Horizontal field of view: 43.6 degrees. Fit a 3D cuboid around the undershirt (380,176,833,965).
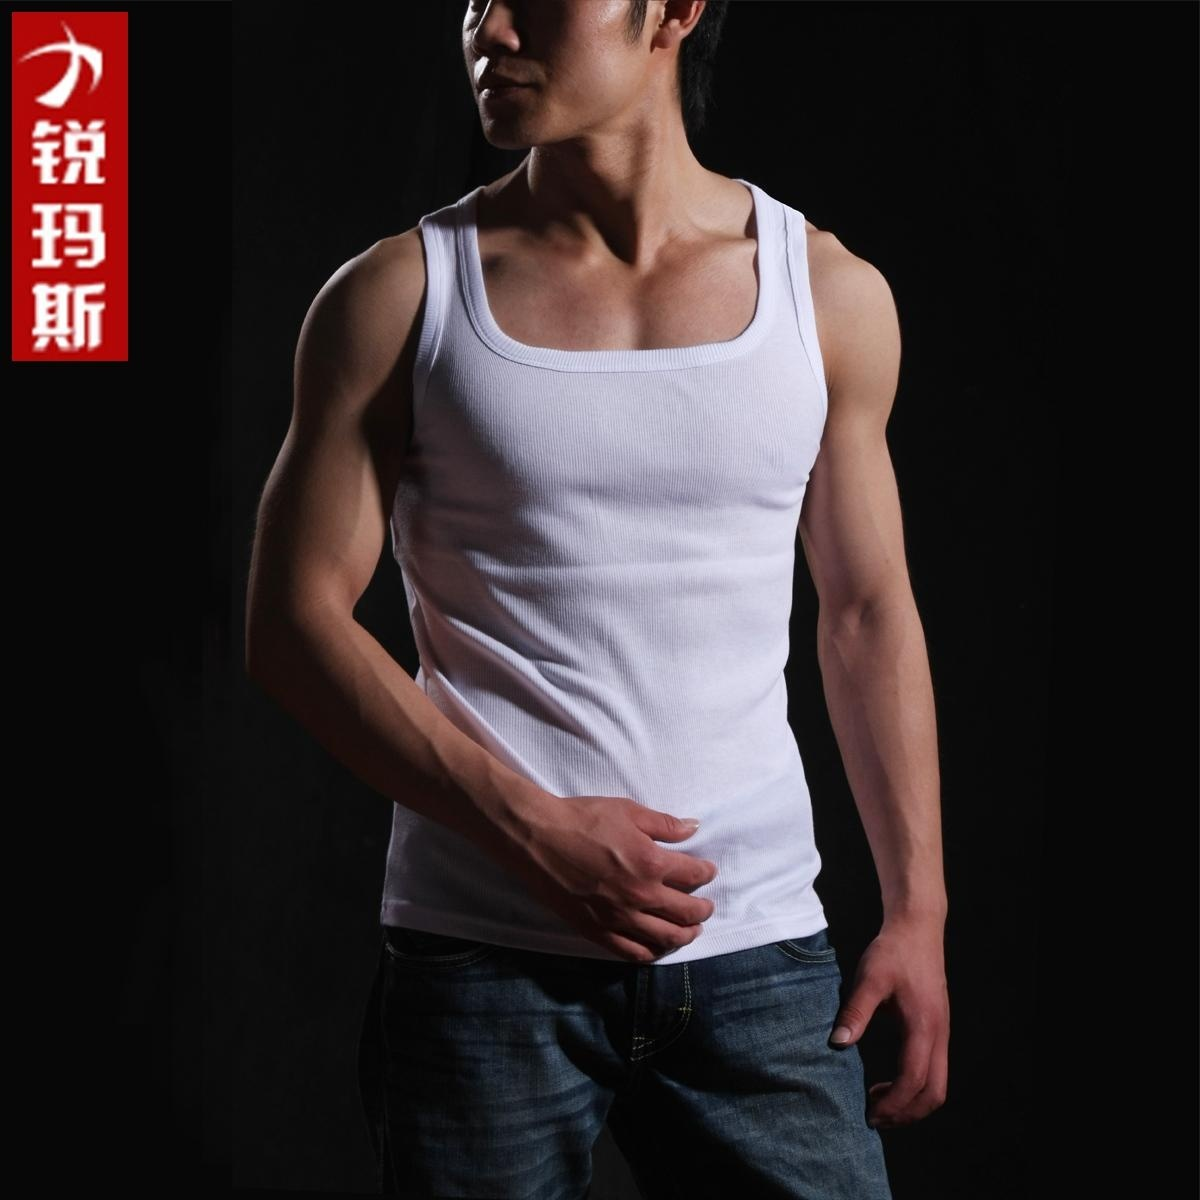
[{"bbox_3d":[0.011,-0.035,1.365,0.391,0.681,0.224,-1,8,-11],"label":"undershirt"}]
